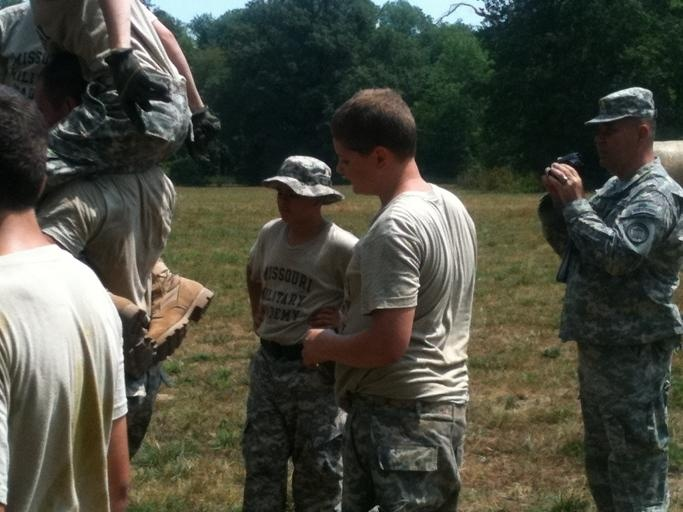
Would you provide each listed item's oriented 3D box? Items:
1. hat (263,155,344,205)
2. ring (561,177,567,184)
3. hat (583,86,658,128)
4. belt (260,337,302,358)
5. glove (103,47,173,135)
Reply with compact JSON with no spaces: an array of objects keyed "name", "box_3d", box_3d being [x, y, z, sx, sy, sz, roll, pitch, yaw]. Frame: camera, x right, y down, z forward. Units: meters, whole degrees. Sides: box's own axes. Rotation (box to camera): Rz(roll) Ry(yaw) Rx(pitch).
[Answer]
[{"name":"hat","box_3d":[-0.238,-0.610,8.938,0.456,0.209,0.419,13,-10,4]},{"name":"ring","box_3d":[1.551,-0.539,8.519,0.031,0.012,0.039,2,37,18]},{"name":"hat","box_3d":[2.040,-1.083,8.767,0.401,0.171,0.289,-2,5,1]},{"name":"belt","box_3d":[-0.413,0.653,8.720,0.213,0.074,0.178,3,1,22]},{"name":"glove","box_3d":[-1.214,-1.011,7.262,0.387,0.468,0.137,-32,16,-10]}]
